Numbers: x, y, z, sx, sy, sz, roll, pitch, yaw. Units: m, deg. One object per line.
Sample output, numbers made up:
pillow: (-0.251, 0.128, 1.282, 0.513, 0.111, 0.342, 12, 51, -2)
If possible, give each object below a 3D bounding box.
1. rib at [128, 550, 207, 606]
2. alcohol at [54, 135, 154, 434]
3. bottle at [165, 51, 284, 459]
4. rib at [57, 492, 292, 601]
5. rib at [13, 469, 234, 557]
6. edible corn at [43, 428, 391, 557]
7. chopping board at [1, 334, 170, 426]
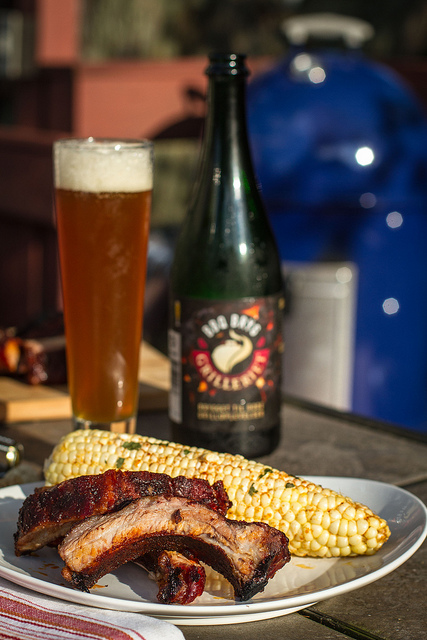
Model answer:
rib: (-0.020, 0.137, 0.337, 0.024, 0.014, 0.043, -14, 13, -18)
alcohol: (-0.092, -0.034, 0.562, 0.091, 0.253, 0.100, -2, 13, -12)
bottle: (0.020, -0.061, 0.659, 0.135, 0.420, 0.205, 3, 13, 6)
rib: (-0.020, 0.123, 0.339, 0.111, 0.030, 0.057, 6, 35, 5)
rib: (-0.061, 0.098, 0.369, 0.109, 0.029, 0.066, -6, 10, -20)
edible corn: (-0.024, 0.103, 0.506, 0.324, 0.085, 0.076, 10, 1, 20)
chopping board: (-0.187, 0.108, 0.810, 0.122, 0.157, 0.163, -4, 5, 33)
